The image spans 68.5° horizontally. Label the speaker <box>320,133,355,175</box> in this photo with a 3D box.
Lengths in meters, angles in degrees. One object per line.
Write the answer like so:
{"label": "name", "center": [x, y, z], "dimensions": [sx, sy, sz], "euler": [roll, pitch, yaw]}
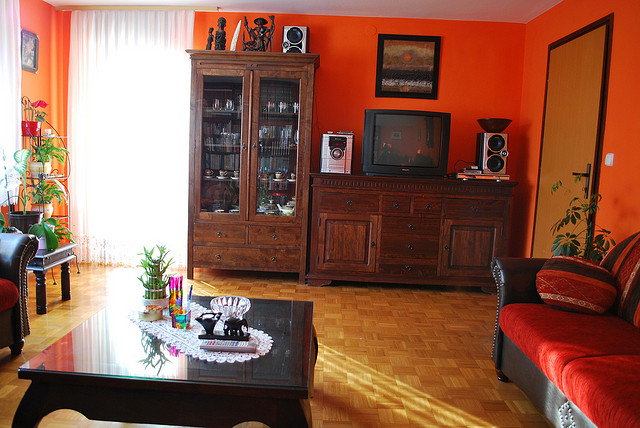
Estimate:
{"label": "speaker", "center": [0.184, -0.718, 5.140], "dimensions": [0.368, 0.471, 0.338], "euler": [4, 34, 2]}

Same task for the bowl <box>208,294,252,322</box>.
{"label": "bowl", "center": [-0.562, 0.591, 3.005], "dimensions": [0.192, 0.083, 0.189], "euler": [1, 5, 0]}

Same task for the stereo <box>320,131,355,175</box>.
{"label": "stereo", "center": [0.192, -0.685, 5.133], "dimensions": [0.356, 0.437, 0.316], "euler": [3, 18, 3]}

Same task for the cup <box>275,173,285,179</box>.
{"label": "cup", "center": [-0.431, -0.413, 5.085], "dimensions": [0.072, 0.047, 0.058], "euler": [1, 3, -7]}

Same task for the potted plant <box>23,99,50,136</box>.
{"label": "potted plant", "center": [-2.992, -1.002, 4.941], "dimensions": [0.268, 0.368, 0.239], "euler": [-3, 10, -39]}

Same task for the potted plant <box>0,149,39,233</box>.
{"label": "potted plant", "center": [-2.989, -0.263, 4.670], "dimensions": [0.290, 0.758, 0.800], "euler": [-3, 10, -33]}

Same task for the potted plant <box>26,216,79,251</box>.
{"label": "potted plant", "center": [-2.534, 0.175, 4.489], "dimensions": [0.386, 0.158, 0.384], "euler": [7, 6, 25]}

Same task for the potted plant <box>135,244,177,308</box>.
{"label": "potted plant", "center": [-1.087, 0.466, 3.126], "dimensions": [0.208, 0.273, 0.205], "euler": [1, 0, -9]}

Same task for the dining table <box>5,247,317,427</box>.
{"label": "dining table", "center": [-0.800, 0.833, 2.729], "dimensions": [1.363, 0.477, 1.335], "euler": [1, 6, 5]}

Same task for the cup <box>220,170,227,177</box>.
{"label": "cup", "center": [-1.038, -0.436, 5.070], "dimensions": [0.043, 0.063, 0.062], "euler": [0, 6, 36]}

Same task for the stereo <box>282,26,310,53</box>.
{"label": "stereo", "center": [-0.272, -1.878, 5.207], "dimensions": [0.271, 0.349, 0.261], "euler": [3, 15, -3]}

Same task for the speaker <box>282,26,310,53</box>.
{"label": "speaker", "center": [-0.279, -1.912, 5.212], "dimensions": [0.285, 0.339, 0.256], "euler": [1, 30, -8]}

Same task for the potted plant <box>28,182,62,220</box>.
{"label": "potted plant", "center": [-2.803, -0.135, 4.850], "dimensions": [0.351, 0.373, 0.337], "euler": [-8, -5, 10]}

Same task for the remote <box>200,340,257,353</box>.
{"label": "remote", "center": [-0.539, 0.777, 2.772], "dimensions": [0.225, 0.021, 0.113], "euler": [1, 1, 2]}

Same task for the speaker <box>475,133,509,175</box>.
{"label": "speaker", "center": [1.872, -0.659, 5.118], "dimensions": [0.314, 0.436, 0.330], "euler": [5, 9, 15]}

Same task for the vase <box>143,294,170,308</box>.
{"label": "vase", "center": [-1.081, 0.567, 3.123], "dimensions": [0.112, 0.039, 0.107], "euler": [0, -3, 21]}

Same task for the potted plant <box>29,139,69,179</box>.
{"label": "potted plant", "center": [-2.851, -0.541, 4.845], "dimensions": [0.283, 0.300, 0.322], "euler": [16, -22, -39]}

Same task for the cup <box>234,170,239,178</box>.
{"label": "cup", "center": [-0.900, -0.436, 5.079], "dimensions": [0.057, 0.060, 0.057], "euler": [1, -1, 0]}
